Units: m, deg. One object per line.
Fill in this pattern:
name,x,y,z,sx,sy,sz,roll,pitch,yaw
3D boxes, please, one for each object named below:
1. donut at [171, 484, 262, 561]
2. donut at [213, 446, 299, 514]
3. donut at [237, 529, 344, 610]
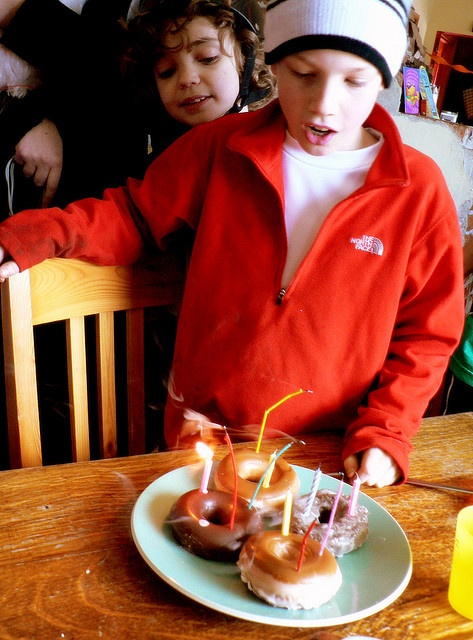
donut,-0.026,0.234,0.628,0.106,0.036,0.104,-1,18,-46
donut,0.030,0.213,0.713,0.099,0.034,0.097,22,28,24
donut,0.054,0.250,0.560,0.102,0.055,0.084,13,16,23
